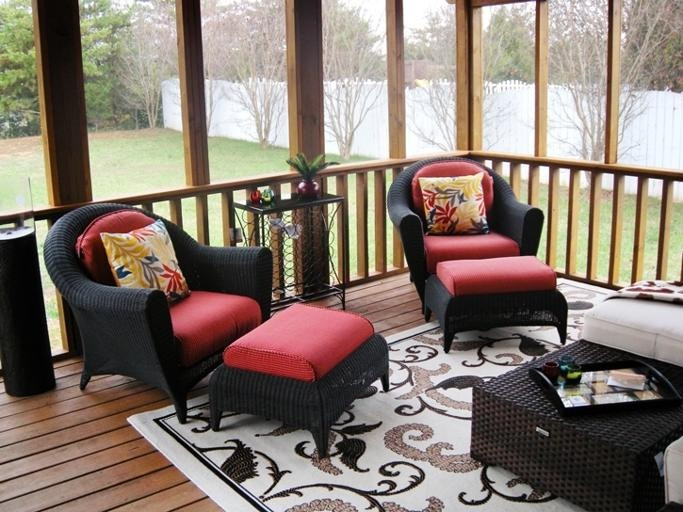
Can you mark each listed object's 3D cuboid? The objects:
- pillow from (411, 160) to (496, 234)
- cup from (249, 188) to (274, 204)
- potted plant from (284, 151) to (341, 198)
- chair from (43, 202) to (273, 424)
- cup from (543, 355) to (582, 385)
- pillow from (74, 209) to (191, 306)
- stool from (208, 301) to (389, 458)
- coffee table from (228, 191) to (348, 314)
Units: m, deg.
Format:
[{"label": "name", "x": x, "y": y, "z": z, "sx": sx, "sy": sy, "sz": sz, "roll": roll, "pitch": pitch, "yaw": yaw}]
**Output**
[{"label": "pillow", "x": 0.907, "y": -0.456, "z": 4.543, "sx": 0.571, "sy": 0.600, "sz": 0.238, "roll": -1, "pitch": -28, "yaw": -6}, {"label": "cup", "x": -0.612, "y": -0.456, "z": 4.299, "sx": 0.172, "sy": 0.126, "sz": 0.123, "roll": 2, "pitch": 7, "yaw": -9}, {"label": "potted plant", "x": -0.287, "y": -0.642, "z": 4.602, "sx": 0.392, "sy": 0.325, "sz": 0.398, "roll": 1, "pitch": 3, "yaw": 3}, {"label": "chair", "x": -1.082, "y": 0.264, "z": 3.575, "sx": 1.175, "sy": 1.060, "sz": 1.276, "roll": -14, "pitch": 19, "yaw": -39}, {"label": "cup", "x": 1.069, "y": 0.565, "z": 2.691, "sx": 0.110, "sy": 0.065, "sz": 0.149, "roll": -2, "pitch": 7, "yaw": -5}, {"label": "pillow", "x": -1.227, "y": -0.087, "z": 3.299, "sx": 0.168, "sy": 0.571, "sz": 0.581, "roll": -34, "pitch": -22, "yaw": 28}, {"label": "stool", "x": -0.237, "y": 0.554, "z": 2.977, "sx": 0.719, "sy": 0.477, "sz": 0.776, "roll": 8, "pitch": 22, "yaw": 24}, {"label": "coffee table", "x": -0.419, "y": -0.019, "z": 4.321, "sx": 0.443, "sy": 0.858, "sz": 0.852, "roll": 12, "pitch": 19, "yaw": 41}]
